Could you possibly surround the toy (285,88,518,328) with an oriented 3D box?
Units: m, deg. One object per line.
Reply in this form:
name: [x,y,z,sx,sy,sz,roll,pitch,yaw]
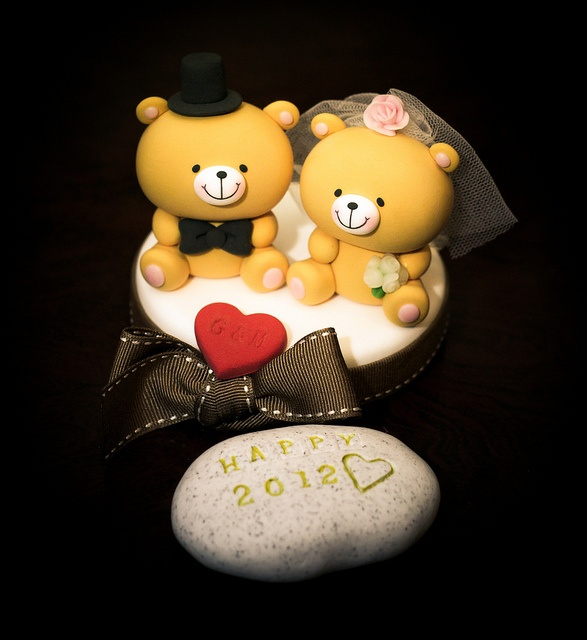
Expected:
toy: [0.141,-0.233,1.483,0.565,0.393,0.281,3,32,3]
